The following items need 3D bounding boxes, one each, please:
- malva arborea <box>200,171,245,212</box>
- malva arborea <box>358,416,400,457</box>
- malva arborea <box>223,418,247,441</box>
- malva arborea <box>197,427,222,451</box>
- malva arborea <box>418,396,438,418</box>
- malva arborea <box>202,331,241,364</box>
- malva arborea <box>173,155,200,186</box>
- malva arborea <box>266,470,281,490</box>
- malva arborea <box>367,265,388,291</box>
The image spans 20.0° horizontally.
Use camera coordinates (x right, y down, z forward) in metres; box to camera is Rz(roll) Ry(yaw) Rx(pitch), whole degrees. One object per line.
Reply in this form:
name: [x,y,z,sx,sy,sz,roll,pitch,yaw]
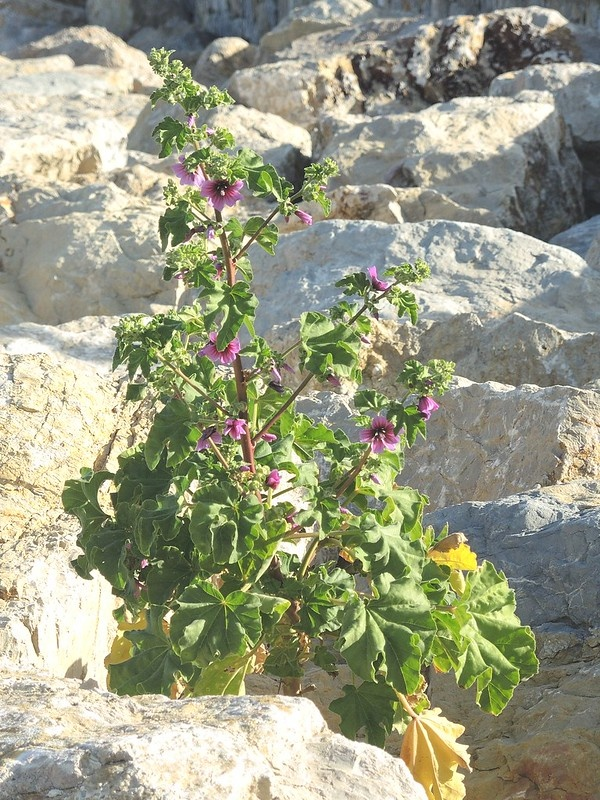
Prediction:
malva arborea: [-0.351,-0.923,7.638,0.196,0.147,0.157,-3,20,-3]
malva arborea: [0.364,0.163,7.667,0.189,0.150,0.079,-6,-15,-5]
malva arborea: [-0.290,0.129,7.673,0.112,0.089,0.074,-5,21,-7]
malva arborea: [-0.409,0.175,7.686,0.114,0.102,0.056,-5,21,-9]
malva arborea: [0.584,0.030,7.778,0.080,0.116,0.095,-1,21,3]
malva arborea: [-0.363,-0.234,7.703,0.142,0.142,0.189,-17,24,-35]
malva arborea: [-0.528,-1.034,7.722,0.103,0.137,0.223,-7,20,-12]
malva arborea: [-0.125,0.356,7.688,0.076,0.067,0.092,11,-32,-23]
malva arborea: [0.390,-0.559,7.847,0.079,0.100,0.123,-37,-15,2]
